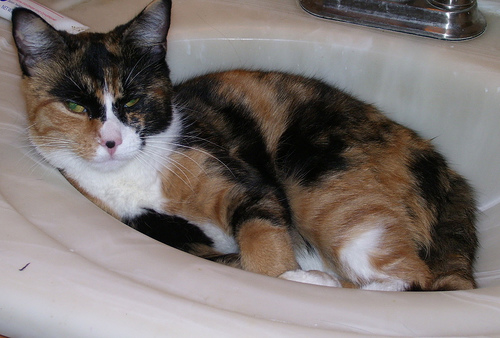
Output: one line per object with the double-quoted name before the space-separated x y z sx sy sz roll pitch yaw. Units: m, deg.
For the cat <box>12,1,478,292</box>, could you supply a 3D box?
"cat" -0.013 0.063 1.750 1.409 0.558 0.737 13 54 0
